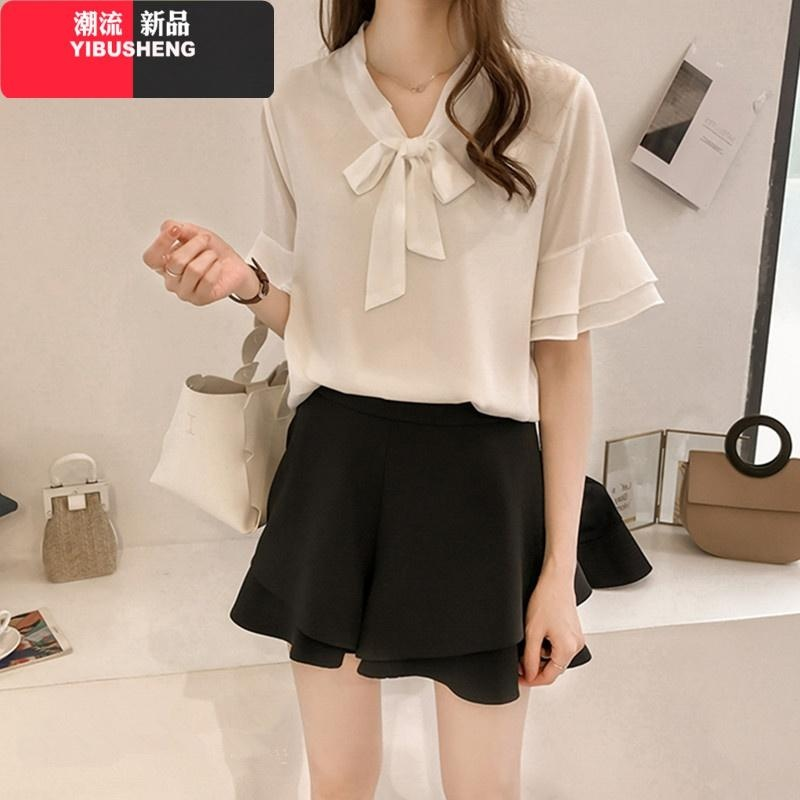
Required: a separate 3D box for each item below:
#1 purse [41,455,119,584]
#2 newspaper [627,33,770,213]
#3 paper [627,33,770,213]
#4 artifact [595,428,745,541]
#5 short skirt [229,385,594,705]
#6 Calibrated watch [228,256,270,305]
[{"bbox_3d":[-0.755,0.264,1.695,0.164,0.284,0.155,-5,11,-24],"label":"purse"},{"bbox_3d":[0.758,-0.675,1.842,0.335,0.380,0.087,26,6,-15],"label":"newspaper"},{"bbox_3d":[0.749,-0.674,1.841,0.335,0.380,0.087,26,6,-15],"label":"paper"},{"bbox_3d":[0.693,0.215,1.852,0.252,0.193,0.070,-4,4,-12],"label":"artifact"},{"bbox_3d":[-0.020,0.163,0.907,0.397,0.341,0.185,2,11,13],"label":"short skirt"},{"bbox_3d":[-0.195,-0.157,0.966,0.058,0.056,0.027,-18,10,-3],"label":"Calibrated watch"}]
